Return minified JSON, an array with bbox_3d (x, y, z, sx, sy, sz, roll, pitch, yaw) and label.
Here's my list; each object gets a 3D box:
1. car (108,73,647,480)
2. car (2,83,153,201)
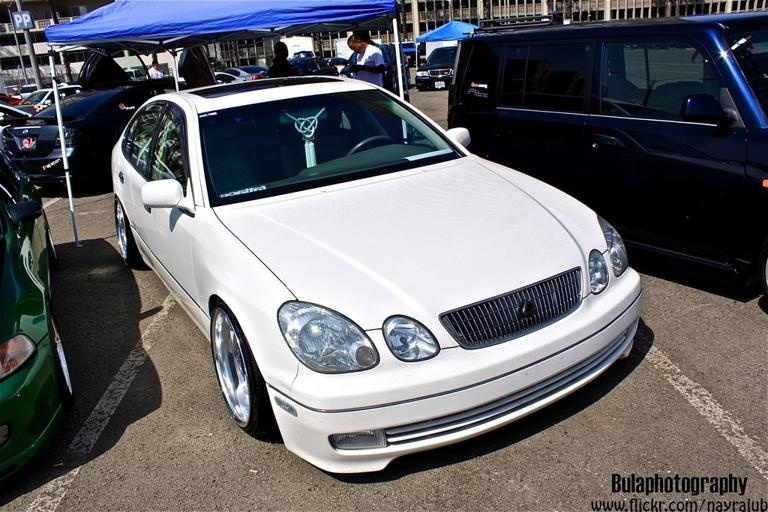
[{"bbox_3d":[-0.166,-0.120,3.452,2.285,2.011,3.174,-25,32,-38],"label":"car"},{"bbox_3d":[-5.455,-2.095,8.548,1.516,1.193,3.598,-8,18,-21],"label":"car"}]
